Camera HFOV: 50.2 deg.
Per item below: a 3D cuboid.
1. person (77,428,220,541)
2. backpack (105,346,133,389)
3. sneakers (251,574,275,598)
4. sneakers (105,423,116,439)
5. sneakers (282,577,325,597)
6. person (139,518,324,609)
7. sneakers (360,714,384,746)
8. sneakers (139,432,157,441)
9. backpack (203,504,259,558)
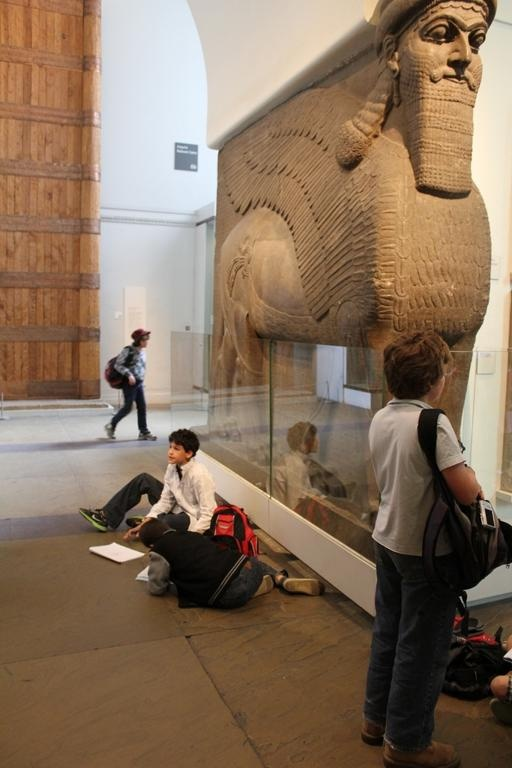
[{"bbox_3d":[-0.787,0.795,4.133,0.554,0.789,1.358,1,1,-33],"label":"person"},{"bbox_3d":[-2.216,-0.224,8.666,0.394,0.854,0.594,0,8,-2],"label":"backpack"},{"bbox_3d":[0.053,1.272,3.416,0.058,0.186,0.070,24,-9,-35],"label":"sneakers"},{"bbox_3d":[-2.270,0.738,8.442,0.234,0.178,0.139,-2,9,-27],"label":"sneakers"},{"bbox_3d":[0.296,1.270,3.468,0.268,0.113,0.115,5,0,-1],"label":"sneakers"},{"bbox_3d":[-0.186,1.078,3.345,1.100,0.488,0.457,6,2,25],"label":"person"},{"bbox_3d":[0.426,1.279,2.049,0.049,0.100,0.130,1,3,28],"label":"sneakers"},{"bbox_3d":[-1.649,0.811,8.419,0.268,0.140,0.123,2,0,-2],"label":"sneakers"},{"bbox_3d":[-0.125,0.911,3.419,0.231,0.347,0.324,5,-31,12],"label":"backpack"}]
